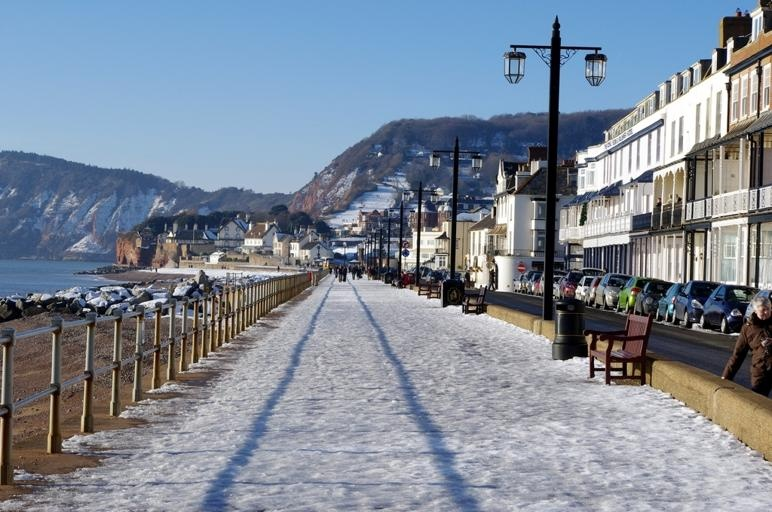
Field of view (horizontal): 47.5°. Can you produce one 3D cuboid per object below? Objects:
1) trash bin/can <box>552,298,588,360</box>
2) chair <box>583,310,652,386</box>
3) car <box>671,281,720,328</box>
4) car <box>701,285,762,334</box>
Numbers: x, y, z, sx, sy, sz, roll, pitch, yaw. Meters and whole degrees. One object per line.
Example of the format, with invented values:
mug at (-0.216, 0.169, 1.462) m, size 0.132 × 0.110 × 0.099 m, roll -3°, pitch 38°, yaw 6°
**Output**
trash bin/can at (3.984, 1.557, 18.849) m, size 0.637 × 1.356 × 0.637 m, roll 2°, pitch -1°, yaw -9°
chair at (4.317, 1.657, 16.461) m, size 1.058 × 1.273 × 2.877 m, roll 0°, pitch 1°, yaw 12°
car at (11.239, 1.673, 30.478) m, size 1.239 × 1.547 × 2.521 m, roll 0°, pitch -2°, yaw 2°
car at (11.307, 1.648, 28.235) m, size 1.668 × 1.369 × 2.819 m, roll 1°, pitch -4°, yaw -5°
